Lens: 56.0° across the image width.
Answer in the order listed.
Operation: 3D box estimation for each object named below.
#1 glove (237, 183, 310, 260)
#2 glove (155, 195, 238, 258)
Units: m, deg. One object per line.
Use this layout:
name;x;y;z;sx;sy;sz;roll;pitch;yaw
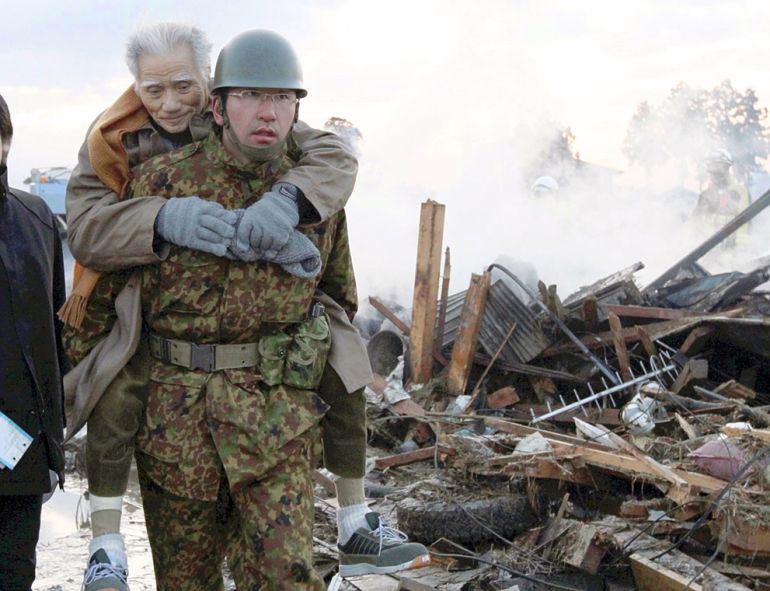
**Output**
glove;-0.432;-0.299;2.867;0.148;0.304;0.307;5;6;34
glove;-0.733;-0.271;2.803;0.318;0.214;0.102;4;5;14
